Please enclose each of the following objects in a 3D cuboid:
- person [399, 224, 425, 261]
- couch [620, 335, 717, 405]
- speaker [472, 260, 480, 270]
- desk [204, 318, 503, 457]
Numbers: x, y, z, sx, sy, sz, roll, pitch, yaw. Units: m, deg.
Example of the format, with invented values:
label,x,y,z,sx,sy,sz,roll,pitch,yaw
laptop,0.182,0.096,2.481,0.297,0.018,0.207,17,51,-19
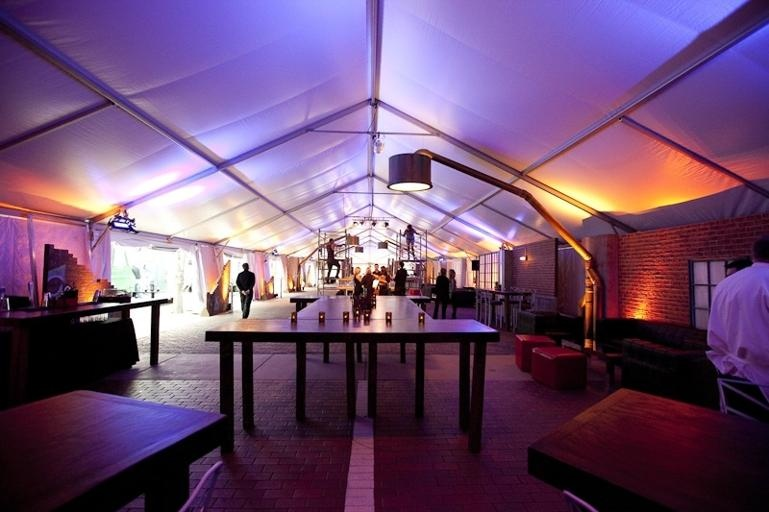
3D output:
label,x,y,z,sx,sy,sz,roll,pitch,yaw
person,1.421,-0.715,23.439,1.179,1.924,1.229,-1,-1,22
couch,4.155,1.361,6.929,0.749,0.883,1.343,2,-2,-7
speaker,3.793,0.363,19.664,0.424,0.410,0.220,0,12,-1
desk,-0.354,1.543,6.346,3.422,1.472,1.469,1,13,-1
